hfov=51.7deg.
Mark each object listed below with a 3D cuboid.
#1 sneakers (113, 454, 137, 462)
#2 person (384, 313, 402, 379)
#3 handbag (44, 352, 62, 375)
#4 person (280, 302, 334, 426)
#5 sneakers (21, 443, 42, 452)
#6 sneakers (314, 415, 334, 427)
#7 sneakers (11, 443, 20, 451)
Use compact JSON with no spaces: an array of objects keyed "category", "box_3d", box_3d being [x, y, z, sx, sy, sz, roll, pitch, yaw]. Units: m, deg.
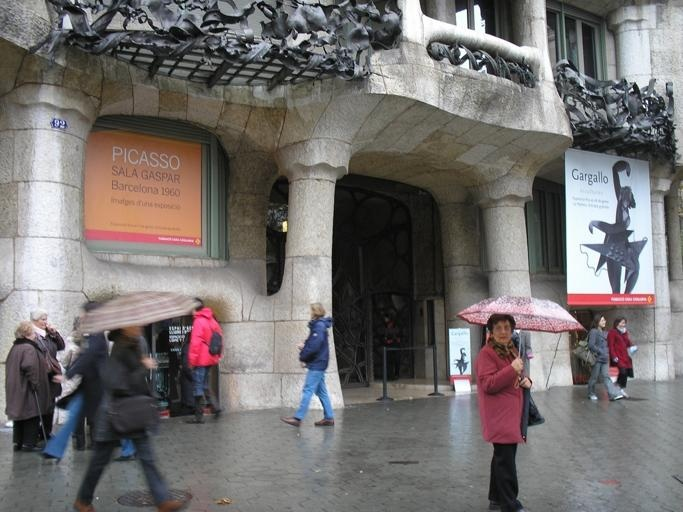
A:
[{"category":"sneakers","box_3d":[-2.878,2.717,9.437,0.297,0.132,0.096,4,-6,16]},{"category":"person","box_3d":[1.536,2.751,21.317,0.461,2.013,0.750,-2,-4,5]},{"category":"handbag","box_3d":[-4.218,1.594,10.323,0.227,0.330,0.119,6,33,38]},{"category":"person","box_3d":[-0.509,1.915,12.213,0.704,2.145,0.678,-1,-4,-2]},{"category":"sneakers","box_3d":[-4.501,2.806,10.201,0.329,0.145,0.113,3,0,-20]},{"category":"sneakers","box_3d":[-0.287,2.950,12.460,0.385,0.176,0.145,2,-9,-2]},{"category":"sneakers","box_3d":[-4.719,2.812,10.264,0.124,0.126,0.090,16,-24,-33]}]
